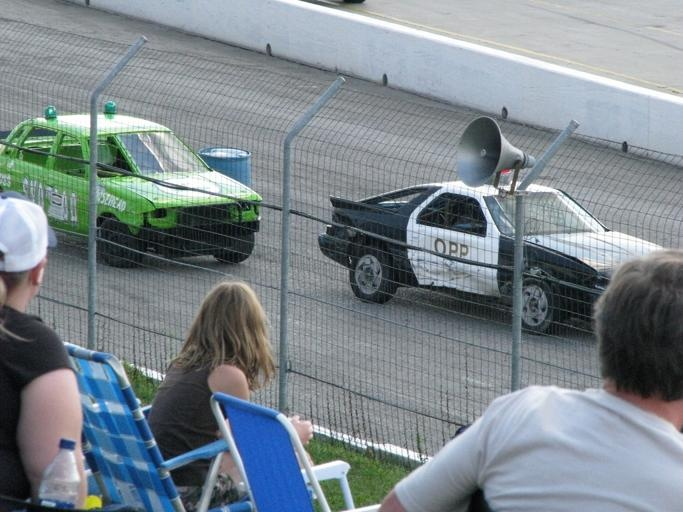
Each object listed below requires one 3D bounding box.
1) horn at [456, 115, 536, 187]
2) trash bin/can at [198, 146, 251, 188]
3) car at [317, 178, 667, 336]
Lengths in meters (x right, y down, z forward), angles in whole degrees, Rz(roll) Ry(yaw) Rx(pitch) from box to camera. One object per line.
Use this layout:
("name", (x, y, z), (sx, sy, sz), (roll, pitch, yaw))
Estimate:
("horn", (1.816, -1.213, 22.240), (0.415, 0.850, 0.964), (0, 14, -38))
("trash bin/can", (-1.626, -1.382, 26.383), (0.687, 0.701, 0.575), (13, 22, 31))
("car", (2.071, -0.123, 24.638), (4.372, 1.552, 2.593), (10, 10, 36))
